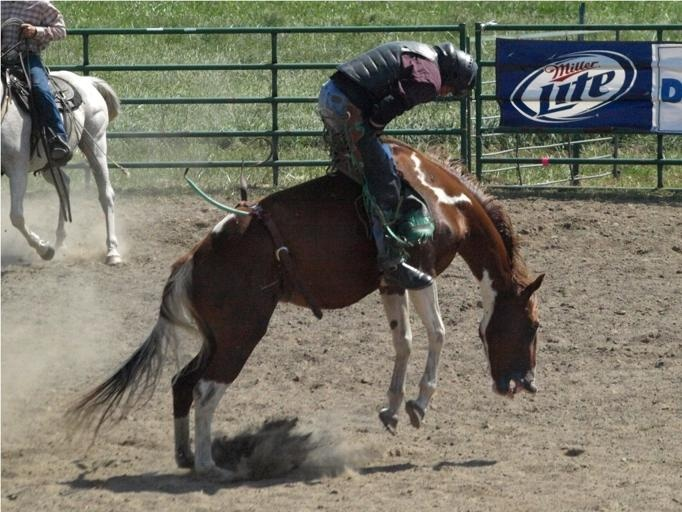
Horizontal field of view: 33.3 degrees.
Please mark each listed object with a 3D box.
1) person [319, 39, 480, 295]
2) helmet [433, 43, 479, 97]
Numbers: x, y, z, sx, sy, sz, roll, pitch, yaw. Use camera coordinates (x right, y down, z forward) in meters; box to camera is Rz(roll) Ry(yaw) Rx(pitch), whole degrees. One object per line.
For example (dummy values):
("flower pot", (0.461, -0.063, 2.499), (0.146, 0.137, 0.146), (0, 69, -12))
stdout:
("person", (0.455, -0.887, 10.098), (1.271, 1.863, 0.768), (-2, 19, -2))
("helmet", (1.008, -1.670, 10.312), (0.439, 0.442, 0.340), (7, 2, -23))
